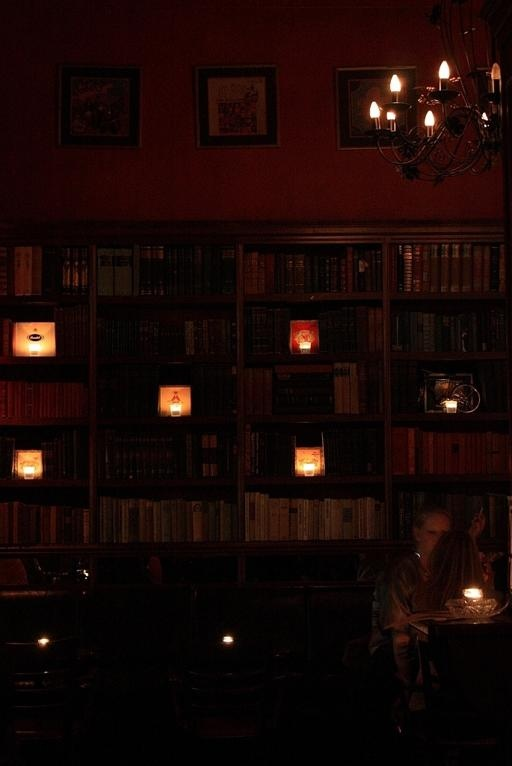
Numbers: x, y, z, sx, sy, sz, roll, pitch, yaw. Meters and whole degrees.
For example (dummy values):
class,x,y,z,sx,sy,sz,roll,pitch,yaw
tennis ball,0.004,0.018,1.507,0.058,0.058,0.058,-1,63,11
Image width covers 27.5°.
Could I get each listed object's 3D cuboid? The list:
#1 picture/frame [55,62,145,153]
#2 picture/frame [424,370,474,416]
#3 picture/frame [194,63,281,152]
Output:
class,x,y,z,sx,sy,sz,roll,pitch,yaw
picture/frame,-0.820,-1.445,5.412,0.345,0.429,0.025,1,4,0
picture/frame,1.005,0.048,5.455,0.230,0.220,0.171,1,-6,0
picture/frame,-0.103,-1.441,5.419,0.339,0.410,0.031,-1,1,-1
